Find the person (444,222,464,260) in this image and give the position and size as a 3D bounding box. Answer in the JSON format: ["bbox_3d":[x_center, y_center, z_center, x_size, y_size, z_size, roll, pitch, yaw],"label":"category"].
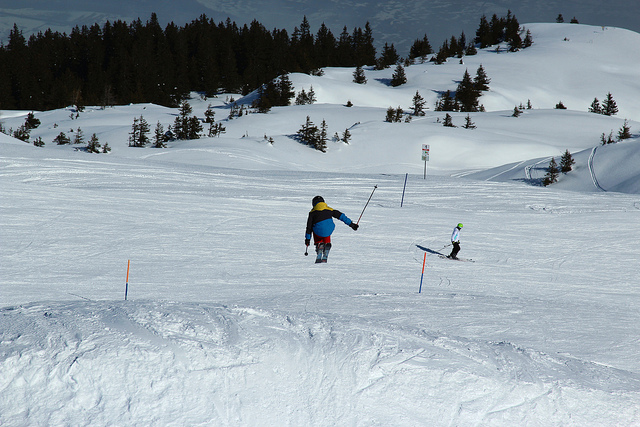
[{"bbox_3d":[7.168,1.411,44.598,0.697,1.874,1.125,4,11,8],"label":"person"}]

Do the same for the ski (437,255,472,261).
[{"bbox_3d":[7.181,2.339,44.447,1.784,0.152,0.253,3,10,8],"label":"ski"}]
